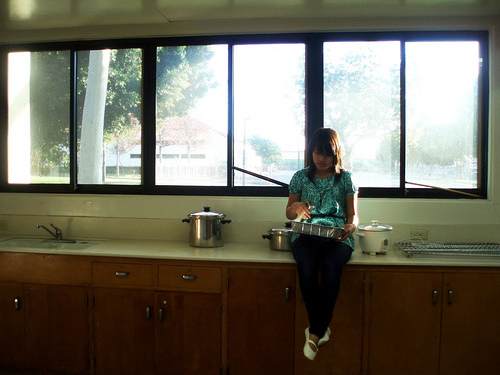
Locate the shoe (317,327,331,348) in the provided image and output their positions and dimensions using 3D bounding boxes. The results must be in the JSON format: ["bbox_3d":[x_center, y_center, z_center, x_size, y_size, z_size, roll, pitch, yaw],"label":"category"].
[{"bbox_3d":[0.599,1.215,3.675,0.080,0.215,0.258,2,2,16],"label":"shoe"}]

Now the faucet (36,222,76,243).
[{"bbox_3d":[-1.871,0.449,4.600,0.151,0.213,0.510,-1,-1,16],"label":"faucet"}]

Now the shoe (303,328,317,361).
[{"bbox_3d":[0.464,1.222,3.600,0.082,0.071,0.238,15,39,-21],"label":"shoe"}]

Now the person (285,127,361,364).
[{"bbox_3d":[0.584,0.475,3.807,0.604,1.965,0.651,2,2,11],"label":"person"}]
